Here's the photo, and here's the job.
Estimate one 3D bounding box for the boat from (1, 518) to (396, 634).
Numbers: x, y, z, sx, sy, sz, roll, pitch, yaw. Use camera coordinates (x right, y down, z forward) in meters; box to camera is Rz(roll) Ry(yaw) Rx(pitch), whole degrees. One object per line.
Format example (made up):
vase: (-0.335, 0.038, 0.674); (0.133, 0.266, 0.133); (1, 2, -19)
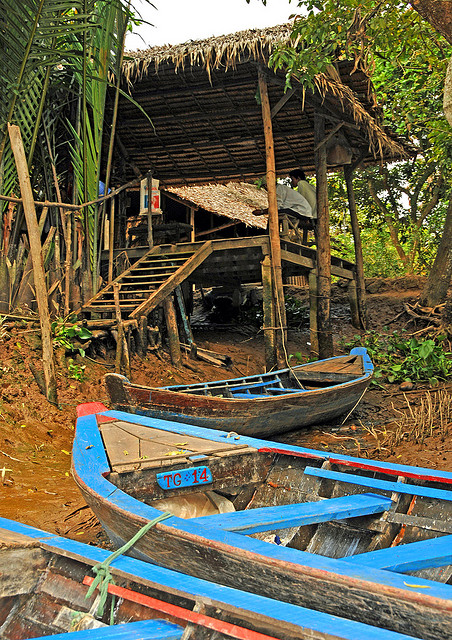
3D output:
boat: (-0.132, 1.009, 2.303); (1.527, 0.209, 0.366); (3, 2, 37)
